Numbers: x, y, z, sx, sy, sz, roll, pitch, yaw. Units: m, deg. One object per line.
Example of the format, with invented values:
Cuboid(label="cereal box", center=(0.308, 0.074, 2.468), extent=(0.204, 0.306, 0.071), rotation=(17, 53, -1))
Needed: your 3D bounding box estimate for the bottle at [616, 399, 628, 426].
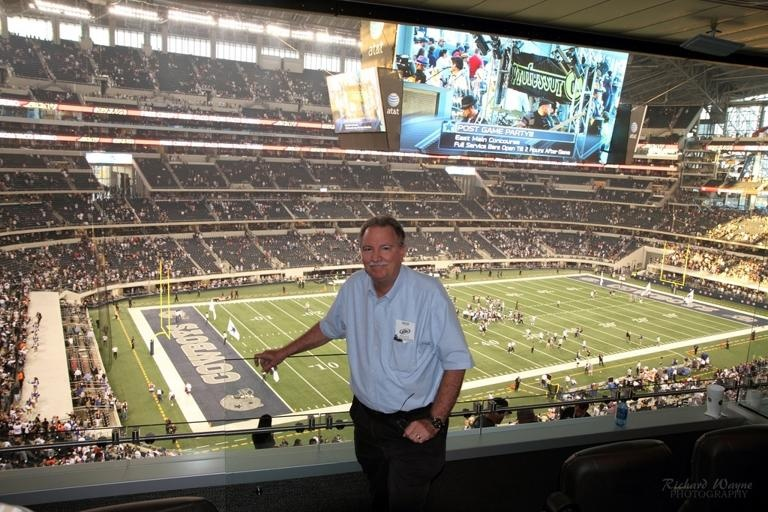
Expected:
Cuboid(label="bottle", center=(2.040, 1.338, 4.879), extent=(0.093, 0.220, 0.229), rotation=(2, 0, 24))

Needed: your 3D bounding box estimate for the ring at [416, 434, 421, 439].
Cuboid(label="ring", center=(0.225, 1.182, 3.729), extent=(0.024, 0.025, 0.024), rotation=(-9, -26, -4))

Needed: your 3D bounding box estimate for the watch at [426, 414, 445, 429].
Cuboid(label="watch", center=(0.353, 1.101, 3.817), extent=(0.111, 0.072, 0.105), rotation=(26, 8, 27))

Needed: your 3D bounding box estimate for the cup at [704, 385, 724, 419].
Cuboid(label="cup", center=(2.868, 1.253, 4.958), extent=(0.128, 0.300, 0.199), rotation=(2, 0, 30))

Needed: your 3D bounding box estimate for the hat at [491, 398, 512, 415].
Cuboid(label="hat", center=(1.048, 1.334, 5.088), extent=(0.146, 0.063, 0.183), rotation=(-1, -5, 5))
